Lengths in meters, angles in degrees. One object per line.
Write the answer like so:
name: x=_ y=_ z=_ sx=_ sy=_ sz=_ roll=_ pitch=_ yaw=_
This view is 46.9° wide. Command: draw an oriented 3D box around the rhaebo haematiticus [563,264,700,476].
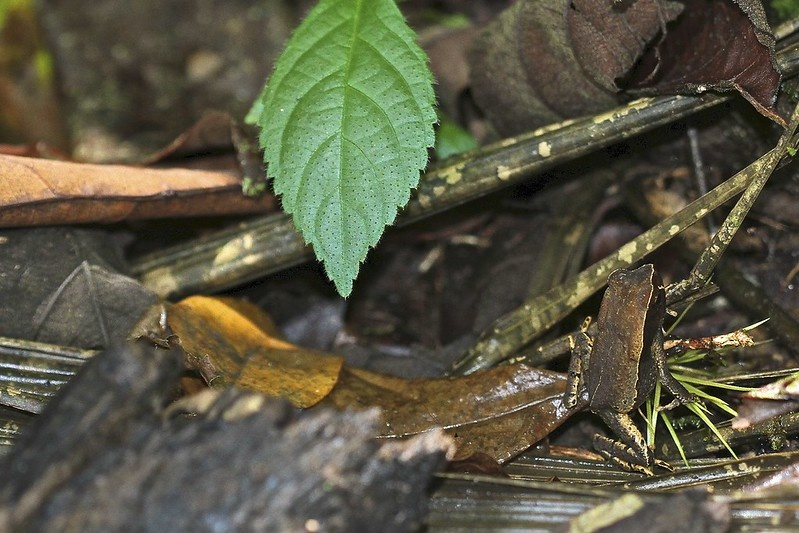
rhaebo haematiticus: x=0.676 y=0.275 z=2.704 sx=0.385 sy=0.211 sz=0.559 roll=15 pitch=94 yaw=18
